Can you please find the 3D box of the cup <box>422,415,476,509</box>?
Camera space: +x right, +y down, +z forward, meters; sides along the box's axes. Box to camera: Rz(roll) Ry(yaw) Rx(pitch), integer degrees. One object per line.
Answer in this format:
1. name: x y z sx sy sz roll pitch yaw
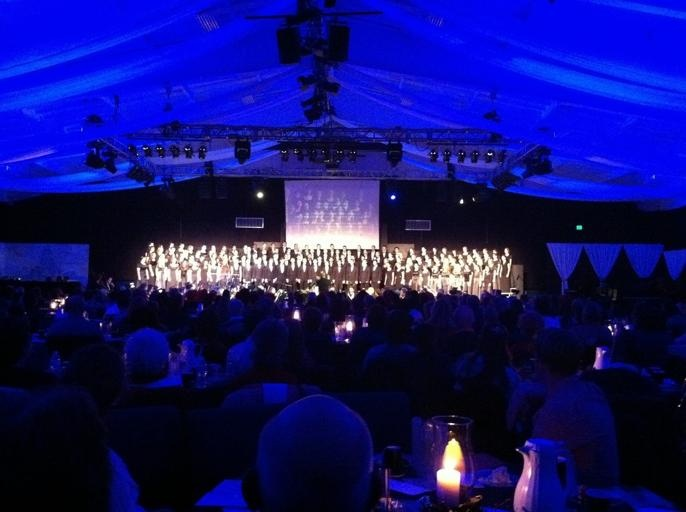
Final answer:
1. cup: 0.628 1.291 4.387 0.360 0.531 0.349 3 -12 1
